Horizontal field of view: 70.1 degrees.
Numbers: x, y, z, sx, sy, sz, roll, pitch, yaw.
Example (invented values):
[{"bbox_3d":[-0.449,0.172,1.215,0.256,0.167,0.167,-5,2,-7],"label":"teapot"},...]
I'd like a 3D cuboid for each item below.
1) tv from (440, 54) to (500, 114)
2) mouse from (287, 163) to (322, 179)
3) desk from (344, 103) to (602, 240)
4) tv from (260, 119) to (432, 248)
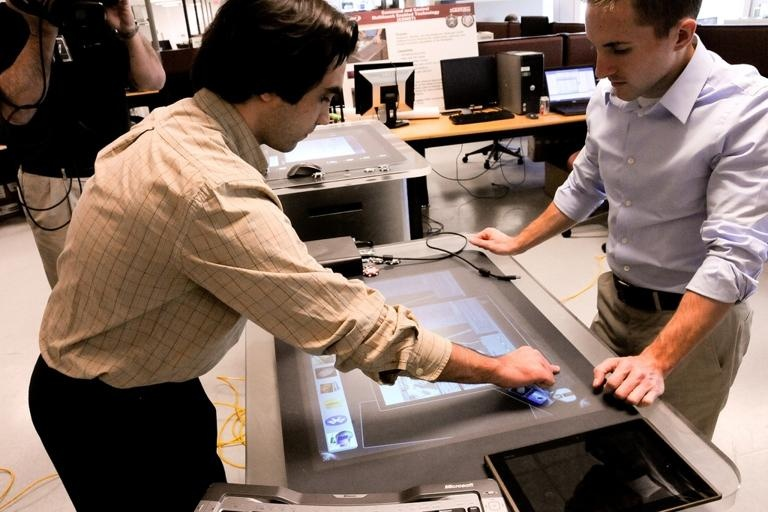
[{"bbox_3d":[0.710,-1.440,4.547,0.568,0.399,0.075,-4,16,-7],"label":"tv"},{"bbox_3d":[-0.394,-0.426,2.680,0.133,0.045,0.078,-8,24,-16],"label":"mouse"},{"bbox_3d":[0.911,-0.935,4.699,1.960,0.907,1.032,-8,32,-8],"label":"desk"},{"bbox_3d":[-0.247,-0.365,3.079,0.751,0.531,0.859,-8,29,-11],"label":"tv"}]
